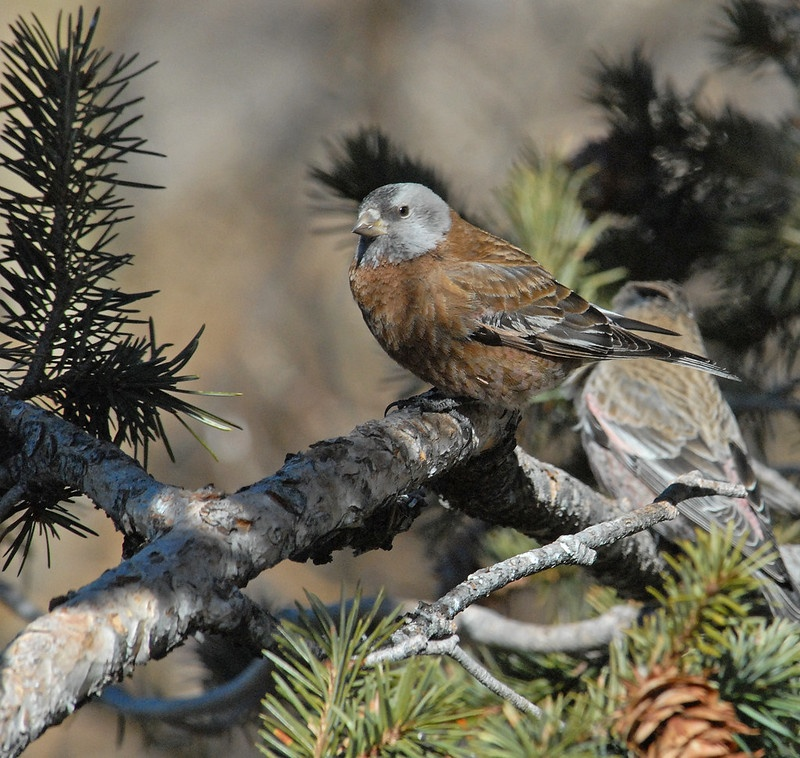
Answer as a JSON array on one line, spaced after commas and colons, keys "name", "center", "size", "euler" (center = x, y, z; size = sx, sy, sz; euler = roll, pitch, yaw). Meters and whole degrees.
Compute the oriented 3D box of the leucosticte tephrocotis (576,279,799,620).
[{"name": "leucosticte tephrocotis", "center": [1.146, 0.223, 5.417], "size": [0.501, 1.513, 0.844], "euler": [-10, -49, -21]}]
